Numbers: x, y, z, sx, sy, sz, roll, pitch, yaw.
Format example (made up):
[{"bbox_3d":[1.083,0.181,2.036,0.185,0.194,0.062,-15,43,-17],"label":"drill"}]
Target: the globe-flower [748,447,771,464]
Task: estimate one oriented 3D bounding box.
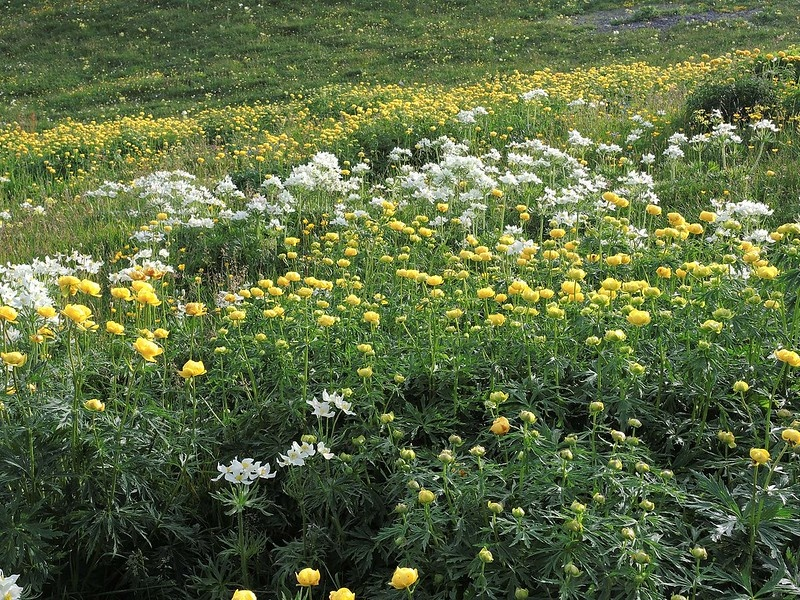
[{"bbox_3d":[2.585,1.088,6.961,0.165,0.126,0.153,1,-6,-19],"label":"globe-flower"}]
